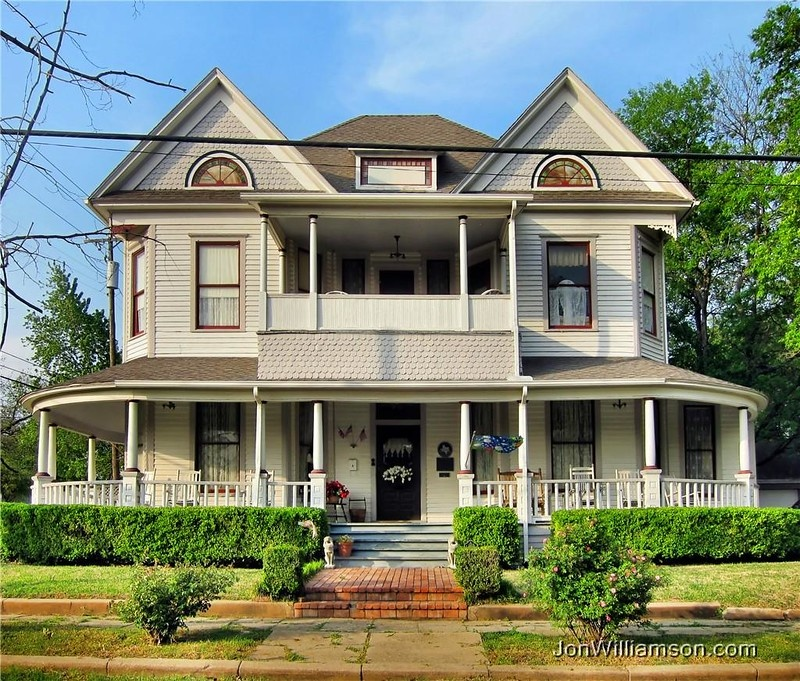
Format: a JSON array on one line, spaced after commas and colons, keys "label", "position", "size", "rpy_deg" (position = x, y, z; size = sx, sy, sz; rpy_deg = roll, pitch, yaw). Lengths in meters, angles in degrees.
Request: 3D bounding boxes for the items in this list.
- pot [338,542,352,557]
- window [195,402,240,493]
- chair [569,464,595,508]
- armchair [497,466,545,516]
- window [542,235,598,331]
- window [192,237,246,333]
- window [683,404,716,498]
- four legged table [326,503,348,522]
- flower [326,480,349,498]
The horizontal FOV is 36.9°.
[{"label": "pot", "position": [-1.217, 4.537, 25.999], "size": [0.280, 0.240, 0.300], "rpy_deg": [3, -4, 0]}, {"label": "window", "position": [-4.433, 2.539, 29.199], "size": [1.013, 2.451, 0.159], "rpy_deg": [2, -32, -12]}, {"label": "chair", "position": [4.184, 3.386, 27.270], "size": [0.518, 1.027, 0.626], "rpy_deg": [-3, -5, 0]}, {"label": "armchair", "position": [2.639, 3.444, 27.802], "size": [0.835, 1.573, 1.003], "rpy_deg": [0, -17, 3]}, {"label": "window", "position": [4.139, -1.358, 29.642], "size": [1.252, 2.696, 0.127], "rpy_deg": [0, 28, 9]}, {"label": "window", "position": [-4.476, -1.322, 29.512], "size": [1.026, 2.275, 0.171], "rpy_deg": [1, -8, -12]}, {"label": "window", "position": [7.434, 2.675, 29.871], "size": [0.801, 2.409, 0.143], "rpy_deg": [0, 27, 16]}, {"label": "four legged table", "position": [-1.510, 4.173, 28.792], "size": [0.405, 0.494, 0.725], "rpy_deg": [-1, -9, 2]}, {"label": "flower", "position": [-1.530, 3.554, 28.377], "size": [0.404, 0.334, 0.432], "rpy_deg": [5, -1, -7]}]
